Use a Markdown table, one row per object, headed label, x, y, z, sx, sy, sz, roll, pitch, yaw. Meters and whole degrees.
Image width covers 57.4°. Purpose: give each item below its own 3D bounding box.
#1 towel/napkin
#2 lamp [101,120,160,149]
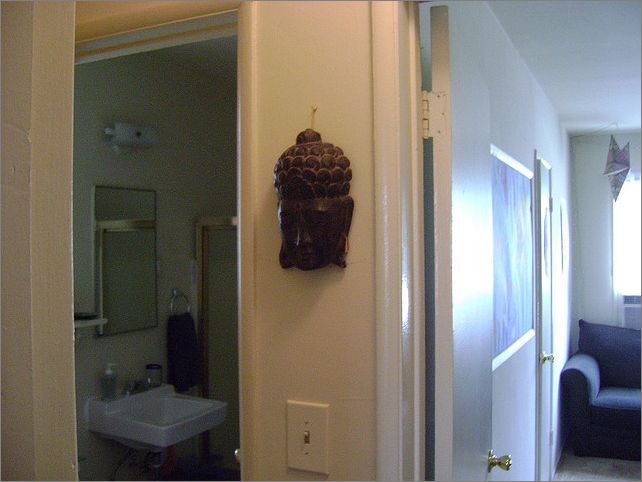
| label | x | y | z | sx | sy | sz | roll | pitch | yaw |
| --- | --- | --- | --- | --- | --- | --- | --- | --- | --- |
| towel/napkin | -0.473 | 0.377 | 1.990 | 0.189 | 0.272 | 0.034 | -2 | -1 | 41 |
| lamp | -0.657 | -0.363 | 2.028 | 0.173 | 0.092 | 0.063 | 5 | -7 | -5 |
